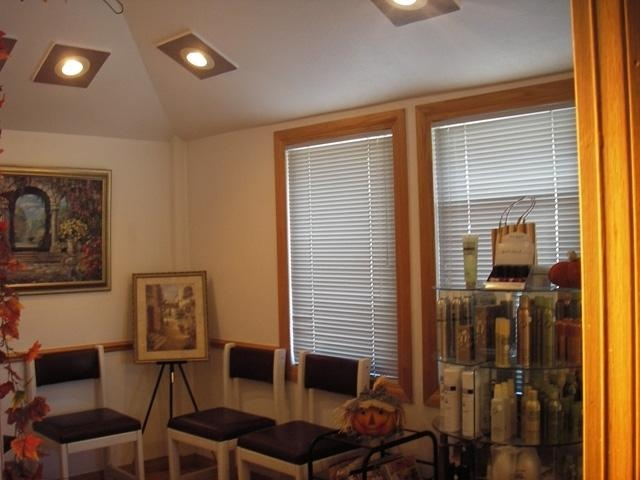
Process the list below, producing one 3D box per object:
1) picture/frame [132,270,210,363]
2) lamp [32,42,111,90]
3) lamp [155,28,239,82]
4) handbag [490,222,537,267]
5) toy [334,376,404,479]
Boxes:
[{"bbox_3d":[-1.161,0.596,4.099,0.688,0.835,0.060,0,-4,-7],"label":"picture/frame"},{"bbox_3d":[-1.665,-1.154,3.549,0.378,0.188,0.369,3,-4,-39],"label":"lamp"},{"bbox_3d":[-0.810,-1.211,3.516,0.378,0.144,0.398,-2,-4,39],"label":"lamp"},{"bbox_3d":[0.942,0.025,2.590,0.087,0.196,0.200,11,-14,-42],"label":"handbag"},{"bbox_3d":[0.322,1.003,3.025,0.388,0.250,0.482,0,16,38],"label":"toy"}]
